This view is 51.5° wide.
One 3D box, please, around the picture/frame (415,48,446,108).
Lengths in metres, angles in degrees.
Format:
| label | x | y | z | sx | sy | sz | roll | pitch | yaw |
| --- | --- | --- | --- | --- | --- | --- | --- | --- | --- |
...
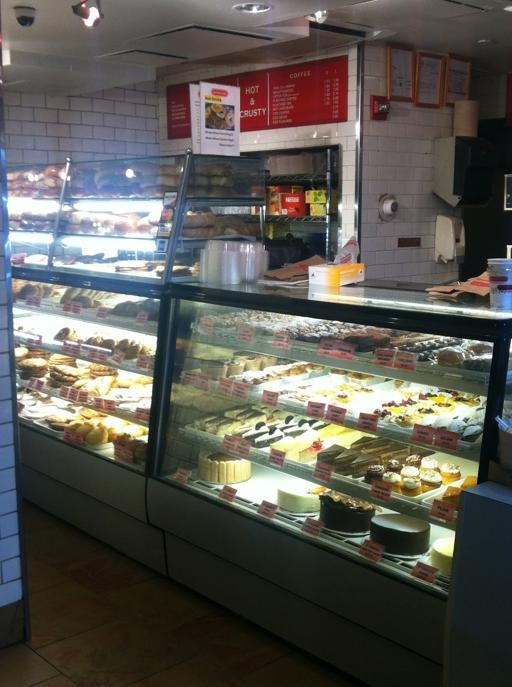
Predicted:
| label | x | y | z | sx | sy | sz | roll | pitch | yaw |
| --- | --- | --- | --- | --- | --- | --- | --- | --- | --- |
| picture/frame | 1.579 | -2.434 | 4.843 | 0.037 | 0.466 | 0.479 | 15 | 21 | 43 |

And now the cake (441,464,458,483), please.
| label | x | y | z | sx | sy | sz | roll | pitch | yaw |
| --- | --- | --- | --- | --- | --- | --- | --- | --- | --- |
| cake | 0.601 | 0.402 | 1.636 | 0.053 | 0.047 | 0.052 | 1 | 4 | 26 |

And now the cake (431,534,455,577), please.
| label | x | y | z | sx | sy | sz | roll | pitch | yaw |
| --- | --- | --- | --- | --- | --- | --- | --- | --- | --- |
| cake | 0.559 | 0.624 | 1.590 | 0.063 | 0.076 | 0.201 | 1 | 4 | 19 |

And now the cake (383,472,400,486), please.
| label | x | y | z | sx | sy | sz | roll | pitch | yaw |
| --- | --- | --- | --- | --- | --- | --- | --- | --- | --- |
| cake | 0.442 | 0.438 | 1.722 | 0.036 | 0.013 | 0.038 | -2 | 10 | -1 |

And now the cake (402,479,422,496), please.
| label | x | y | z | sx | sy | sz | roll | pitch | yaw |
| --- | --- | --- | --- | --- | --- | --- | --- | --- | --- |
| cake | 0.486 | 0.452 | 1.662 | 0.053 | 0.044 | 0.051 | -1 | 1 | -33 |

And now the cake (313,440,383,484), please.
| label | x | y | z | sx | sy | sz | roll | pitch | yaw |
| --- | --- | --- | --- | --- | --- | --- | --- | --- | --- |
| cake | 0.347 | 0.407 | 1.858 | 0.142 | 0.045 | 0.171 | 10 | 18 | 38 |

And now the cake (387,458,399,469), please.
| label | x | y | z | sx | sy | sz | roll | pitch | yaw |
| --- | --- | --- | --- | --- | --- | --- | --- | --- | --- |
| cake | 0.455 | 0.401 | 1.759 | 0.030 | 0.017 | 0.029 | -1 | 5 | -14 |

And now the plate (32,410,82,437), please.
| label | x | y | z | sx | sy | sz | roll | pitch | yaw |
| --- | --- | --- | --- | --- | --- | --- | --- | --- | --- |
| plate | -1.170 | 0.456 | 3.126 | 0.159 | 0.029 | 0.226 | 17 | 20 | 29 |

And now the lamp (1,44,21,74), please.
| label | x | y | z | sx | sy | sz | roll | pitch | yaw |
| --- | --- | --- | --- | --- | --- | --- | --- | --- | --- |
| lamp | -1.625 | -1.883 | 3.504 | 0.087 | 0.065 | 0.350 | -2 | 4 | -27 |

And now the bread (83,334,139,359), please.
| label | x | y | z | sx | sy | sz | roll | pitch | yaw |
| --- | --- | --- | --- | --- | --- | --- | --- | --- | --- |
| bread | -0.765 | 0.051 | 2.853 | 0.251 | 0.062 | 0.149 | 14 | -8 | 35 |

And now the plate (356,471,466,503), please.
| label | x | y | z | sx | sy | sz | roll | pitch | yaw |
| --- | --- | --- | --- | --- | --- | --- | --- | --- | --- |
| plate | 0.499 | 0.442 | 1.681 | 0.175 | 0.038 | 0.175 | -5 | 6 | -43 |

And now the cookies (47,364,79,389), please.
| label | x | y | z | sx | sy | sz | roll | pitch | yaw |
| --- | --- | --- | --- | --- | --- | --- | --- | --- | --- |
| cookies | -1.144 | 0.201 | 3.158 | 0.157 | 0.055 | 0.167 | 19 | 17 | 37 |

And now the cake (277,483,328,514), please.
| label | x | y | z | sx | sy | sz | roll | pitch | yaw |
| --- | --- | --- | --- | --- | --- | --- | --- | --- | --- |
| cake | 0.170 | 0.584 | 2.007 | 0.193 | 0.093 | 0.107 | 1 | 4 | 23 |

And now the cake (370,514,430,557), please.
| label | x | y | z | sx | sy | sz | roll | pitch | yaw |
| --- | --- | --- | --- | --- | --- | --- | --- | --- | --- |
| cake | 0.453 | 0.604 | 1.681 | 0.180 | 0.098 | 0.111 | 2 | 4 | 36 |

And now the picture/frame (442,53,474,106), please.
| label | x | y | z | sx | sy | sz | roll | pitch | yaw |
| --- | --- | --- | --- | --- | --- | --- | --- | --- | --- |
| picture/frame | 1.900 | -2.501 | 5.025 | 0.036 | 0.468 | 0.503 | 13 | 15 | 42 |

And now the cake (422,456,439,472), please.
| label | x | y | z | sx | sy | sz | roll | pitch | yaw |
| --- | --- | --- | --- | --- | --- | --- | --- | --- | --- |
| cake | 0.552 | 0.385 | 1.687 | 0.043 | 0.025 | 0.042 | -2 | 4 | -5 |

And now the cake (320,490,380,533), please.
| label | x | y | z | sx | sy | sz | roll | pitch | yaw |
| --- | --- | --- | --- | --- | --- | --- | --- | --- | --- |
| cake | 0.306 | 0.588 | 1.810 | 0.147 | 0.083 | 0.142 | 5 | -4 | 13 |

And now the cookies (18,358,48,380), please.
| label | x | y | z | sx | sy | sz | roll | pitch | yaw |
| --- | --- | --- | --- | --- | --- | --- | --- | --- | --- |
| cookies | -1.410 | 0.159 | 3.389 | 0.172 | 0.094 | 0.168 | 3 | 2 | 25 |

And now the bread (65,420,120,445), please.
| label | x | y | z | sx | sy | sz | roll | pitch | yaw |
| --- | --- | --- | --- | --- | --- | --- | --- | --- | --- |
| bread | -0.902 | 0.457 | 2.874 | 0.211 | 0.066 | 0.157 | 9 | 11 | 39 |

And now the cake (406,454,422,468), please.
| label | x | y | z | sx | sy | sz | roll | pitch | yaw |
| --- | --- | --- | --- | --- | --- | --- | --- | --- | --- |
| cake | 0.515 | 0.382 | 1.733 | 0.042 | 0.032 | 0.040 | -2 | -1 | -8 |

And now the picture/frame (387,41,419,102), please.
| label | x | y | z | sx | sy | sz | roll | pitch | yaw |
| --- | --- | --- | --- | --- | --- | --- | --- | --- | --- |
| picture/frame | 1.267 | -2.386 | 4.628 | 0.047 | 0.581 | 0.529 | 7 | 11 | 43 |

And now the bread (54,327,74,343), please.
| label | x | y | z | sx | sy | sz | roll | pitch | yaw |
| --- | --- | --- | --- | --- | --- | --- | --- | --- | --- |
| bread | -1.154 | -0.048 | 3.226 | 0.111 | 0.097 | 0.026 | 3 | -18 | 36 |

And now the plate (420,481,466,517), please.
| label | x | y | z | sx | sy | sz | roll | pitch | yaw |
| --- | --- | --- | --- | --- | --- | --- | --- | --- | --- |
| plate | 0.565 | 0.463 | 1.574 | 0.093 | 0.092 | 0.124 | 1 | 4 | 24 |
